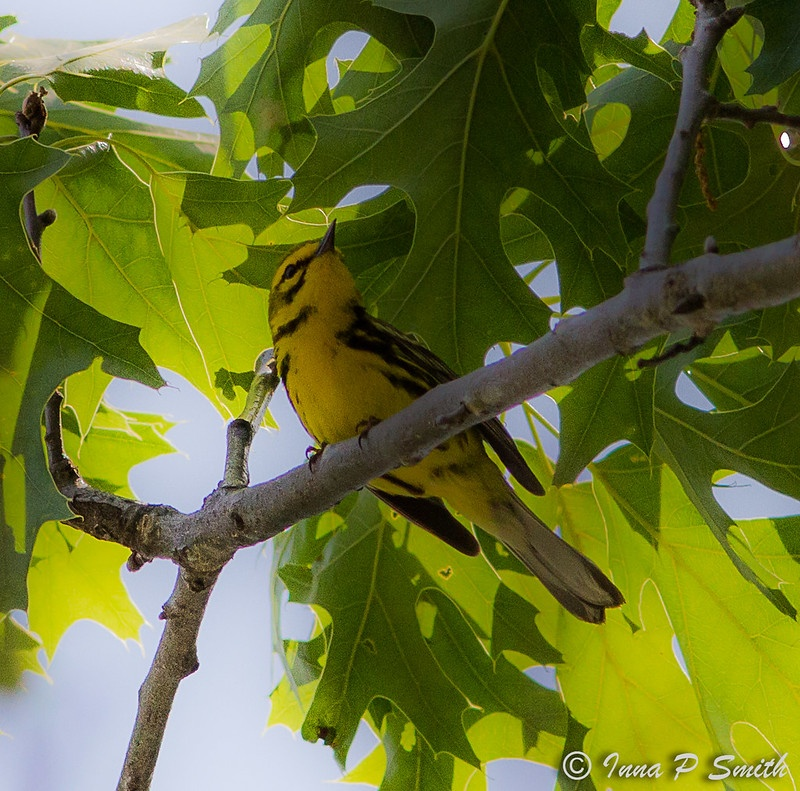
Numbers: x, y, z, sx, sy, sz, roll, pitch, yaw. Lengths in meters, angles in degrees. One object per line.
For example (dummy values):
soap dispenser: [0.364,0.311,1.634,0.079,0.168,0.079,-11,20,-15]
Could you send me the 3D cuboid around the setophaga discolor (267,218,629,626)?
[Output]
setophaga discolor: [0.155,0.055,5.020,1.509,0.631,0.470,47,-41,-10]
